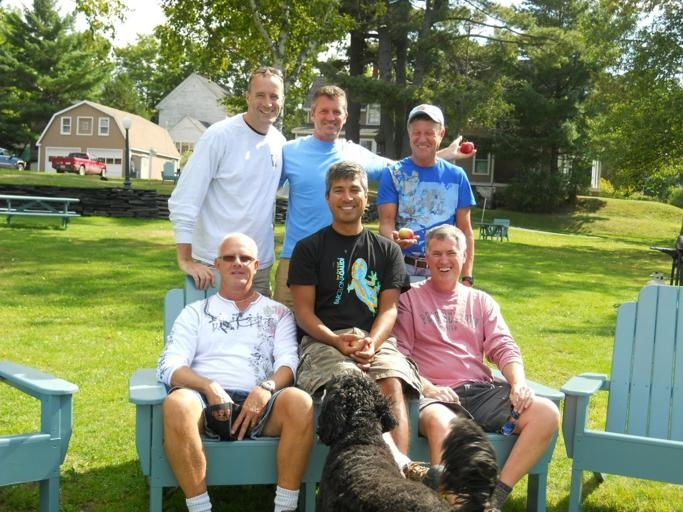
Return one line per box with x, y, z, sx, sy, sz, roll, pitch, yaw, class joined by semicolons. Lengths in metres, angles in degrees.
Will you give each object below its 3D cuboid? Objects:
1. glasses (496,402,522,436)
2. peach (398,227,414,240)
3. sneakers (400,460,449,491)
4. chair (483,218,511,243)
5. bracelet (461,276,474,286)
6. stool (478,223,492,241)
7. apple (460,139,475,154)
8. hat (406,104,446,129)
1.214;1.166;4.877;0.096;0.253;0.079;11;-2;-32;glasses
0.543;-0.187;5.647;0.097;0.100;0.095;-4;1;-44;peach
0.513;1.325;4.198;0.216;0.095;0.128;13;7;41;sneakers
5.070;-0.840;22.406;0.709;0.684;1.015;0;2;32;chair
1.076;0.197;5.785;0.077;0.080;0.081;10;0;4;bracelet
4.778;-0.812;22.560;0.532;0.550;0.546;-1;1;-3;stool
1.209;-1.050;6.390;0.154;0.163;0.157;1;-8;1;apple
0.746;-1.227;5.940;0.286;0.255;0.570;4;3;7;hat
